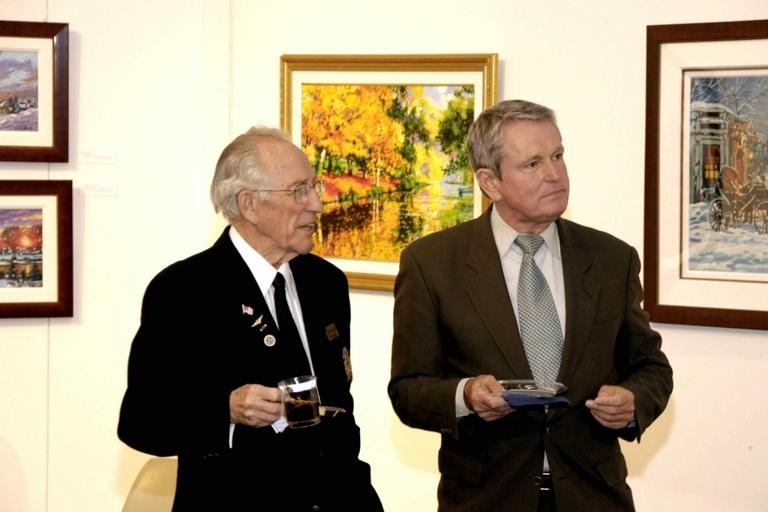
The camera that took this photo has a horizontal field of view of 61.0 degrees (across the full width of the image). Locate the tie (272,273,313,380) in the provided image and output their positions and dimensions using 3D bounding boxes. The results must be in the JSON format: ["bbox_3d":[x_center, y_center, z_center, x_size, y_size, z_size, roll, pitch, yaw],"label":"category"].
[{"bbox_3d":[-0.421,0.264,2.790,0.093,0.540,0.057,-18,-13,-13],"label":"tie"}]

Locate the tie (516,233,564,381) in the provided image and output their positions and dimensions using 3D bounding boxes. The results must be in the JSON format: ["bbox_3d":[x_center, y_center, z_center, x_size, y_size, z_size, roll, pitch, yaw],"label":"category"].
[{"bbox_3d":[0.657,0.208,2.764,0.198,0.614,0.186,0,0,10],"label":"tie"}]

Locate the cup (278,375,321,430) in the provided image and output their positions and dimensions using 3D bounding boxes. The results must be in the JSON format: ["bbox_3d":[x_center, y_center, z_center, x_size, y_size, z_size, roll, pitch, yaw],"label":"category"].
[{"bbox_3d":[-0.318,0.558,2.486,0.182,0.165,0.162,-9,1,34],"label":"cup"}]
